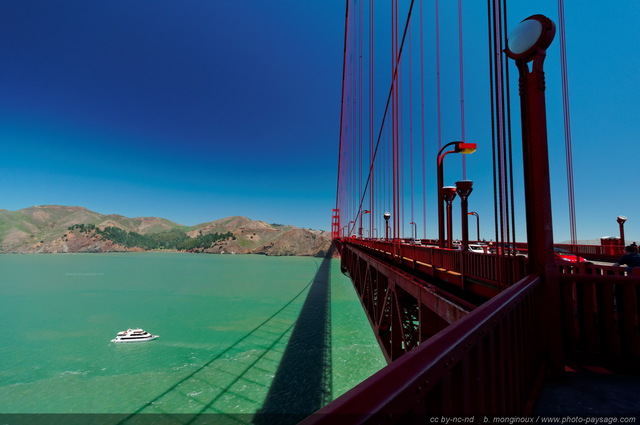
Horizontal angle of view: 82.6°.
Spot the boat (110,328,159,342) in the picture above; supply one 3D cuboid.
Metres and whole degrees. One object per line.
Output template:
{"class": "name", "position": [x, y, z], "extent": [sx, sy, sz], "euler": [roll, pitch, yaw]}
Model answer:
{"class": "boat", "position": [-14.423, 9.415, 28.502], "extent": [2.831, 0.994, 0.650], "euler": [-1, 0, -8]}
